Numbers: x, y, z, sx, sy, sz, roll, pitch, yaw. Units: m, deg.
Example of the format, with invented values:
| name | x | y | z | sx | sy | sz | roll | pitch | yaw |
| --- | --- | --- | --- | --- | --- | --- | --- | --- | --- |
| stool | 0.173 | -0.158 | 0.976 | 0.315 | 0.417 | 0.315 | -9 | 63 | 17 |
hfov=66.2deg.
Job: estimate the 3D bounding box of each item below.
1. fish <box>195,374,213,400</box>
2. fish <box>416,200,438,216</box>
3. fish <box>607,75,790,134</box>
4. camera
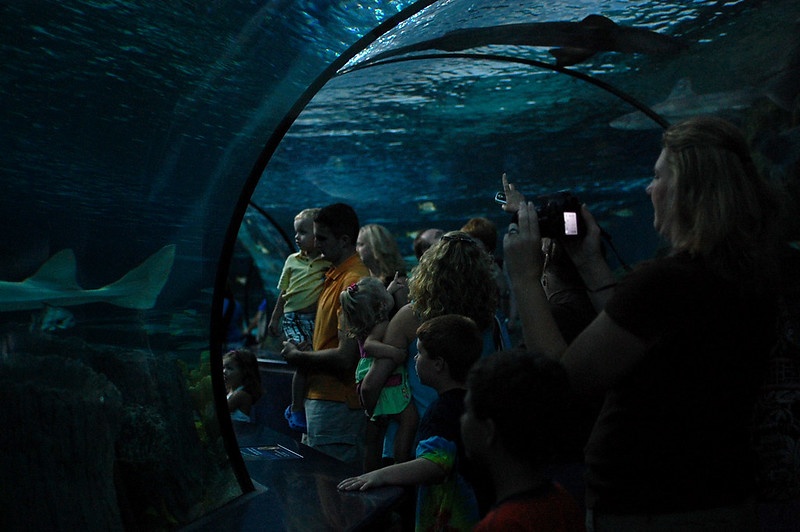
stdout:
| name | x | y | z | sx | sy | sz | roll | pitch | yaw |
| --- | --- | --- | --- | --- | --- | --- | --- | --- | --- |
| fish | -1.051 | 0.664 | 3.304 | 0.044 | 0.135 | 0.134 | -8 | -7 | 6 |
| fish | 0.677 | -1.294 | 13.424 | 0.696 | 0.306 | 0.168 | 5 | 24 | 15 |
| fish | 2.799 | -1.594 | 6.145 | 0.496 | 0.403 | 1.562 | -35 | 18 | -25 |
| camera | 0.682 | -0.220 | 2.912 | 0.328 | 0.231 | 0.270 | -2 | -1 | -1 |
